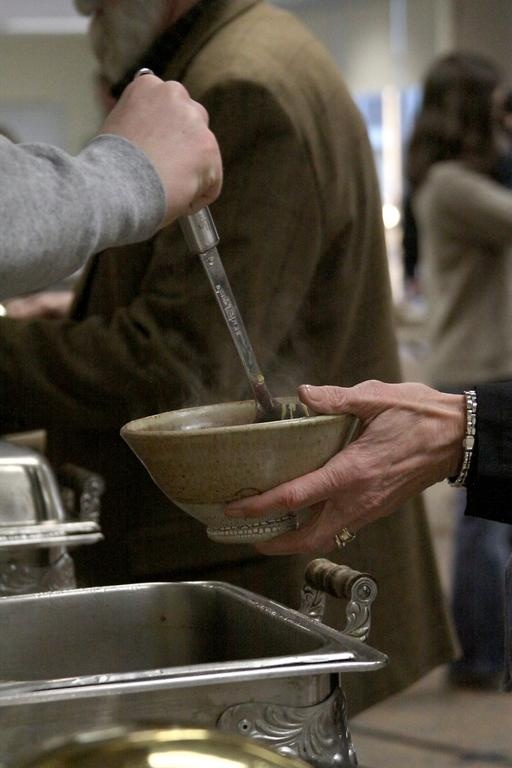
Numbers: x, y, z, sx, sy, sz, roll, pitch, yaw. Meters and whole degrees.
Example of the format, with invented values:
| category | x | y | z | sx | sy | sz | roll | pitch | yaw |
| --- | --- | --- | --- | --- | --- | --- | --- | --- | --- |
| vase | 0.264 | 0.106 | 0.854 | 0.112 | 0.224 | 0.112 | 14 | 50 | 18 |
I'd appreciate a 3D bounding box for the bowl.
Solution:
| category | x | y | z | sx | sy | sz | roll | pitch | yaw |
| --- | --- | --- | --- | --- | --- | --- | --- | --- | --- |
| bowl | -0.016 | 0.095 | 0.816 | 0.208 | 0.098 | 0.206 | -5 | -8 | -1 |
